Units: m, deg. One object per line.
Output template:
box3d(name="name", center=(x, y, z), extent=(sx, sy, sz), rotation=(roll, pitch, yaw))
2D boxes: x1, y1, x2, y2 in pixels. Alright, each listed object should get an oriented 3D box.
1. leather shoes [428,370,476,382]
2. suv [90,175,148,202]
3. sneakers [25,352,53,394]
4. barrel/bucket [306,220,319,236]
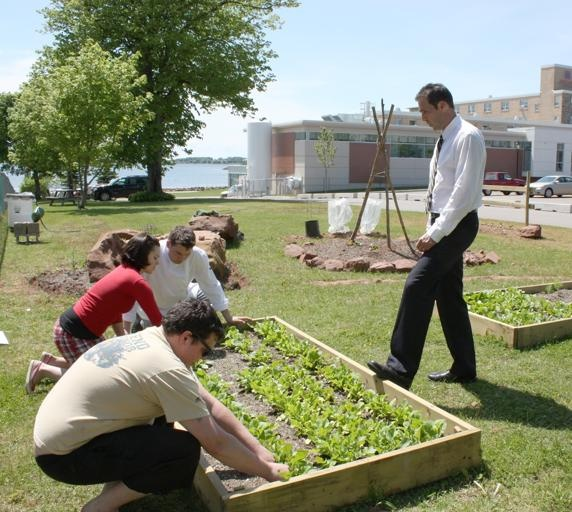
box3d(name="leather shoes", center=(1.421, 1.052, 4.805), extent=(0.378, 0.134, 0.133), rotation=(4, -1, 14))
box3d(name="suv", center=(-10.819, -4.478, 36.643), extent=(1.487, 1.592, 3.470), rotation=(4, 8, 39))
box3d(name="sneakers", center=(-2.083, 0.982, 4.732), extent=(0.168, 0.393, 0.139), rotation=(27, -1, -29))
box3d(name="barrel/bucket", center=(0.645, -0.655, 13.677), extent=(0.334, 0.408, 0.331), rotation=(-1, 7, 0))
